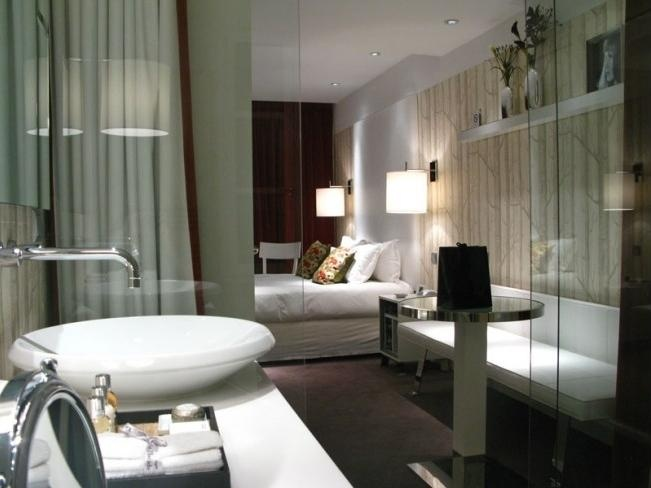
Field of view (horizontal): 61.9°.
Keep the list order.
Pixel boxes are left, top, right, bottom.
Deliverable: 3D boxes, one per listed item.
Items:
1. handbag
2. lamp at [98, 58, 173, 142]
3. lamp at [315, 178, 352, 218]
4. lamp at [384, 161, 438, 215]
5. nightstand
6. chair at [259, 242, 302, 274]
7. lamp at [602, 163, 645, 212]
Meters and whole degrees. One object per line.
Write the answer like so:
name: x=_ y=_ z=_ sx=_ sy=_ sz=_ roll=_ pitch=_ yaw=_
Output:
handbag: x=0.719 y=0.178 z=2.801 sx=0.269 sy=0.348 sz=0.185 roll=0 pitch=-12 yaw=-11
lamp: x=-0.678 y=-0.512 z=2.004 sx=0.231 sy=0.283 sz=0.237 roll=1 pitch=3 yaw=-7
lamp: x=0.091 y=-0.566 z=6.648 sx=0.440 sy=0.529 sz=0.368 roll=1 pitch=0 yaw=-3
lamp: x=0.739 y=-0.489 z=4.749 sx=0.344 sy=0.431 sz=0.361 roll=3 pitch=6 yaw=12
nightstand: x=0.625 y=0.649 z=4.350 sx=0.331 sy=0.471 sz=0.466 roll=3 pitch=1 yaw=-13
chair: x=-0.194 y=0.048 z=2.265 sx=0.138 sy=0.194 sz=0.126 roll=0 pitch=0 yaw=-16
lamp: x=0.973 y=-0.188 z=1.787 sx=0.112 sy=0.209 sz=0.124 roll=2 pitch=2 yaw=18
